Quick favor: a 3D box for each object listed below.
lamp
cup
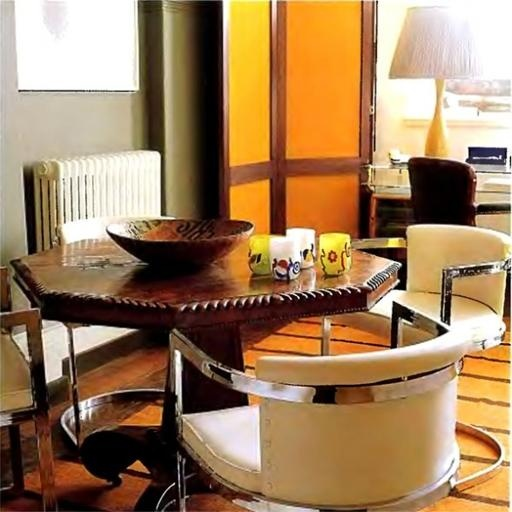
[{"bbox_3d":[1.110,-1.080,3.354,0.548,0.922,0.247,1,12,20],"label":"lamp"},{"bbox_3d":[0.107,-0.009,1.303,0.189,0.083,0.141,-1,7,-14],"label":"cup"}]
